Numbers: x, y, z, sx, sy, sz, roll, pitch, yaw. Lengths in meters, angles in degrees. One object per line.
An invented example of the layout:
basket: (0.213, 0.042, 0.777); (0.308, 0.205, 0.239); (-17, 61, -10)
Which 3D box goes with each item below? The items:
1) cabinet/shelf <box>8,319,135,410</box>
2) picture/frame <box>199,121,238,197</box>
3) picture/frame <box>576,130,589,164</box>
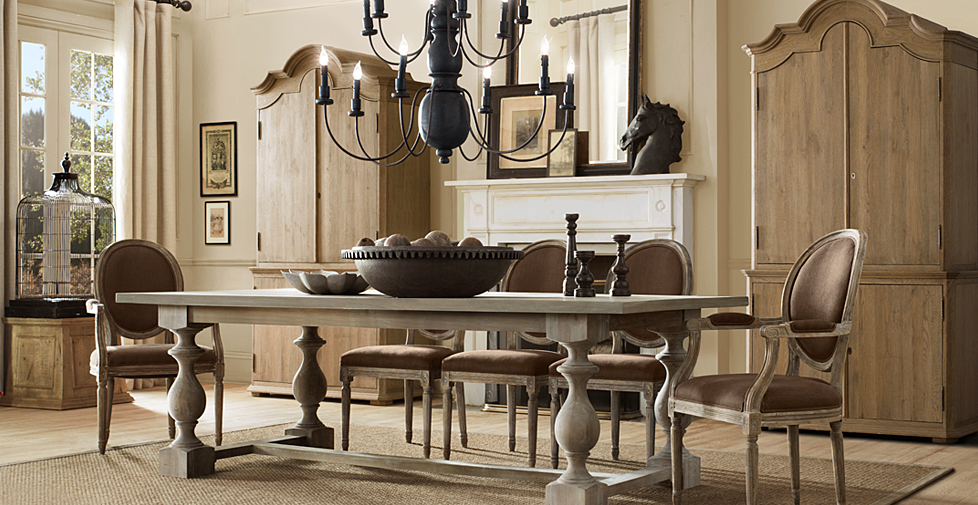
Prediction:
cabinet/shelf: (-4.234, 1.063, 8.452); (1.221, 1.017, 0.970); (1, -1, -44)
picture/frame: (-3.176, -1.101, 9.528); (0.513, 0.866, 0.038); (0, 1, 18)
picture/frame: (0.943, -1.042, 8.053); (0.037, 0.325, 0.202); (-8, 11, -33)
